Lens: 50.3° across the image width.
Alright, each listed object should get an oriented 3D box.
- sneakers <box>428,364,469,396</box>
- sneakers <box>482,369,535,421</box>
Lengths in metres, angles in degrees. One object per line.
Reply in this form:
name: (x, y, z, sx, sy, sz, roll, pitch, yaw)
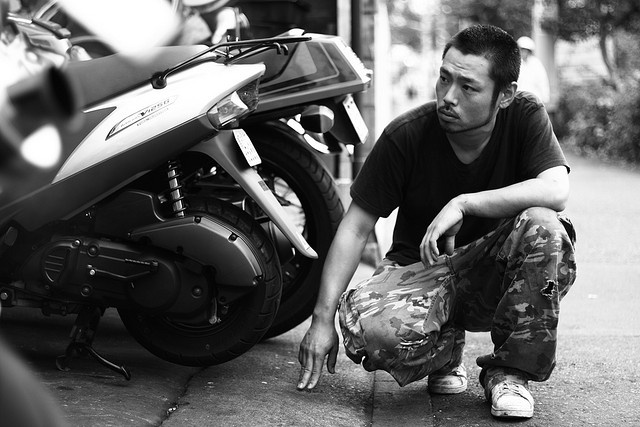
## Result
sneakers: (0.589, 0.725, 3.024, 0.126, 0.160, 0.323, -9, -14, 20)
sneakers: (0.737, 0.725, 2.703, 0.212, 0.173, 0.188, 2, 31, 15)
